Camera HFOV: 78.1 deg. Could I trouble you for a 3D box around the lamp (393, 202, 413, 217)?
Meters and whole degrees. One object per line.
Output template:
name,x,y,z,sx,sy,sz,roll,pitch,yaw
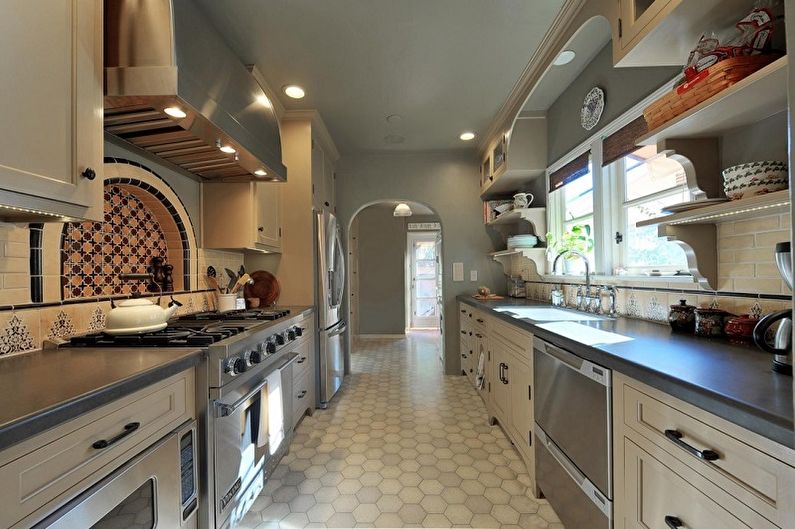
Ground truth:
lamp,0.051,-0.783,7.226,0.224,0.142,0.224,1,-3,-31

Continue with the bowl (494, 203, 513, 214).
bowl,1.044,-0.550,4.837,0.100,0.039,0.106,-30,19,12

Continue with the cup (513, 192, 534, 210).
cup,1.159,-0.593,4.603,0.199,0.173,0.136,2,3,42

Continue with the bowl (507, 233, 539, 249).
bowl,1.124,-0.194,4.437,0.261,0.137,0.259,-1,9,0

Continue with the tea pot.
tea pot,-1.452,0.232,2.776,0.369,0.315,0.279,3,-6,-42

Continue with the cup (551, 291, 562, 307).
cup,1.255,0.283,3.921,0.112,0.144,0.108,-2,-1,0

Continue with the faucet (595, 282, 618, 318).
faucet,1.428,0.239,3.314,0.109,0.221,0.310,0,9,6

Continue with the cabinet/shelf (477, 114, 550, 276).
cabinet/shelf,1.107,-0.660,4.638,0.396,1.390,1.406,1,0,5

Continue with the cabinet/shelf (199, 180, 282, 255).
cabinet/shelf,-1.109,-0.373,3.836,0.244,0.458,0.495,-4,3,15

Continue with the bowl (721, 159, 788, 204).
bowl,1.598,-0.372,2.195,0.210,0.137,0.194,-2,1,0

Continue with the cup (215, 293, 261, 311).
cup,-1.228,0.288,3.675,0.105,0.103,0.253,-5,-6,29
